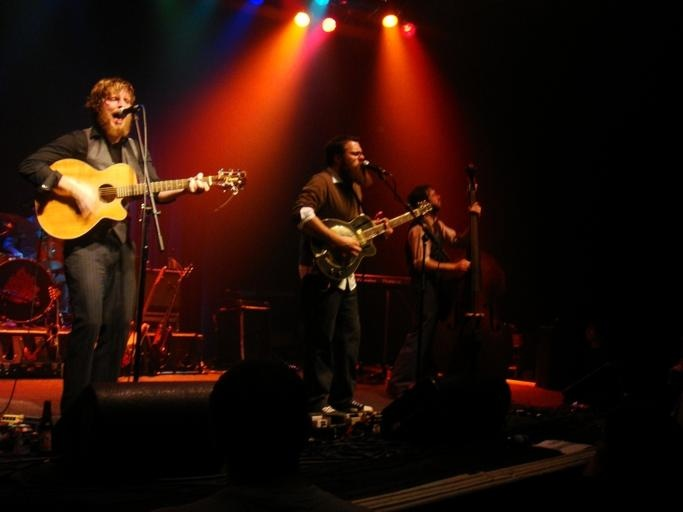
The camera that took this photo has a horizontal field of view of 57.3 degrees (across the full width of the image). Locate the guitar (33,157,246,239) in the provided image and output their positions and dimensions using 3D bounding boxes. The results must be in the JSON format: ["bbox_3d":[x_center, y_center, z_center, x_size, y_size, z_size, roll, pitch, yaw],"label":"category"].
[{"bbox_3d":[-1.658,-0.418,4.852,1.306,0.699,0.268,7,-14,-11],"label":"guitar"}]

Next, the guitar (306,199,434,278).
[{"bbox_3d":[0.233,-0.198,5.587,1.140,0.507,0.145,-30,12,-35],"label":"guitar"}]

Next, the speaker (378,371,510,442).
[{"bbox_3d":[0.828,1.218,4.907,0.701,0.253,0.525,-13,-18,23],"label":"speaker"}]
